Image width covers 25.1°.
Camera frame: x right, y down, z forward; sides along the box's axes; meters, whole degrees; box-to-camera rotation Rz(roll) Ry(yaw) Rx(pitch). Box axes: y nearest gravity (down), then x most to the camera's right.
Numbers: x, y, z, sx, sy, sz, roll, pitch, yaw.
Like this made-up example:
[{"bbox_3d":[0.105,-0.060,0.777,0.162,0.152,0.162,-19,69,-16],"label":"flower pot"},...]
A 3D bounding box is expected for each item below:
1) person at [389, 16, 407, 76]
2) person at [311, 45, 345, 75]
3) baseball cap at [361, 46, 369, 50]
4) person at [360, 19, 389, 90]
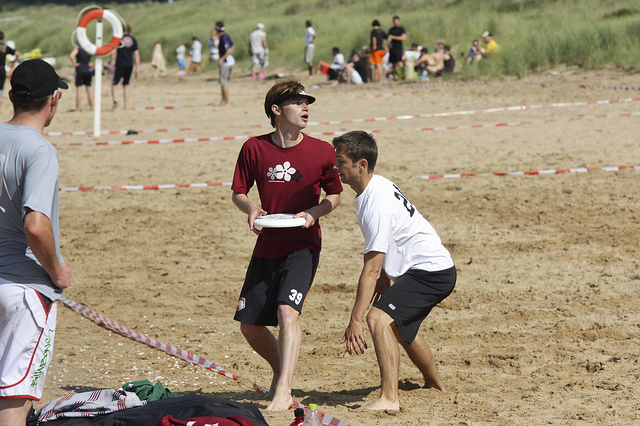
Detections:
[{"bbox_3d":[2.126,-4.664,40.301,0.465,1.607,1.162,1,9,3],"label":"person"},{"bbox_3d":[0.423,-4.475,42.671,0.618,0.964,0.765,-16,9,-32],"label":"person"},{"bbox_3d":[1.257,-4.735,41.555,0.219,0.138,0.206,0,7,7],"label":"baseball cap"},{"bbox_3d":[1.555,-4.512,40.754,0.845,1.818,0.565,-4,3,-14],"label":"person"}]
